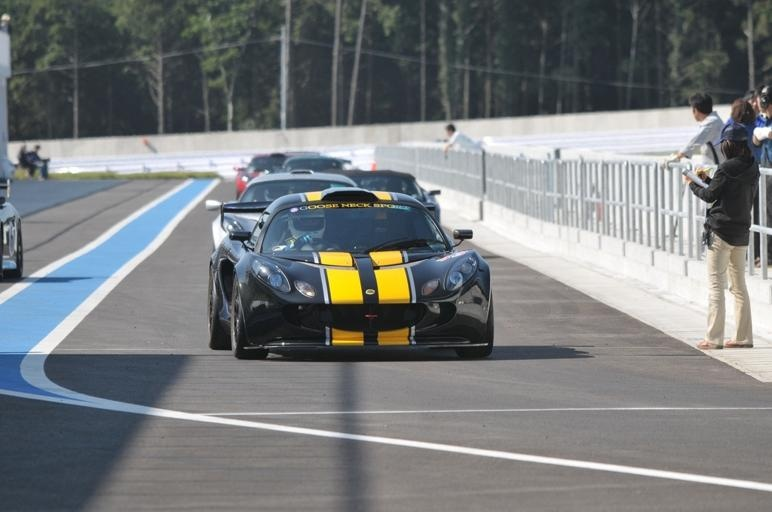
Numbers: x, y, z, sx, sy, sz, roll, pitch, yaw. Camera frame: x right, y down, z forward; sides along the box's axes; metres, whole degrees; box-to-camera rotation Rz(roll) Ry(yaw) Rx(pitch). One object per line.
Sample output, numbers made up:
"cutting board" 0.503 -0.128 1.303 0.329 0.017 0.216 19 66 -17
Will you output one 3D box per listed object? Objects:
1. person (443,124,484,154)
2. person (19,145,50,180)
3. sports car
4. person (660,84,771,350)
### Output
"person" 2.127 -3.120 39.484 0.873 0.723 1.617 -6 17 -24
"person" -14.722 -3.807 60.892 1.075 1.301 2.386 -3 8 -15
"sports car" -0.418 0.236 17.130 3.329 1.890 1.860 0 8 4
"person" 4.066 -0.240 17.469 0.753 2.643 0.902 1 8 14
